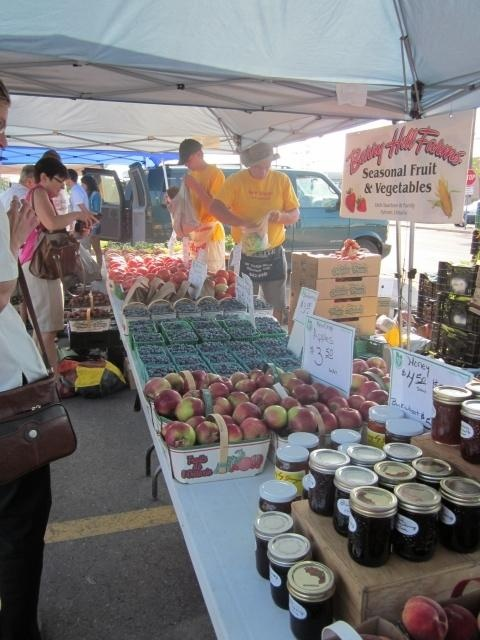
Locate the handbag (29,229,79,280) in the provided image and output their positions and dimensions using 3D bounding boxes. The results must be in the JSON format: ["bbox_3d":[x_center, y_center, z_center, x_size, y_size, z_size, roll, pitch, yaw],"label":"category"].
[{"bbox_3d":[-1.669,-0.592,3.966,0.209,0.392,0.332,19,48,-13],"label":"handbag"}]

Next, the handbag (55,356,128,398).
[{"bbox_3d":[-1.653,0.646,4.857,0.685,0.290,0.779,-1,8,-17],"label":"handbag"}]

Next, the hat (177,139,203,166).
[{"bbox_3d":[-0.507,-1.661,4.359,0.268,0.159,0.196,-37,28,-7],"label":"hat"}]

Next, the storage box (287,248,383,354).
[{"bbox_3d":[0.675,-0.290,4.372,0.955,1.191,0.925,-1,16,-13],"label":"storage box"}]

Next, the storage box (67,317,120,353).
[{"bbox_3d":[-1.732,0.169,5.141,0.514,0.415,0.117,-2,-3,-7],"label":"storage box"}]

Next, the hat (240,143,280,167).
[{"bbox_3d":[0.178,-1.476,3.965,0.292,0.219,0.561,2,12,4],"label":"hat"}]

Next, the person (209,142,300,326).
[{"bbox_3d":[0.194,-0.690,4.285,0.900,1.913,0.685,-8,31,-11],"label":"person"}]
